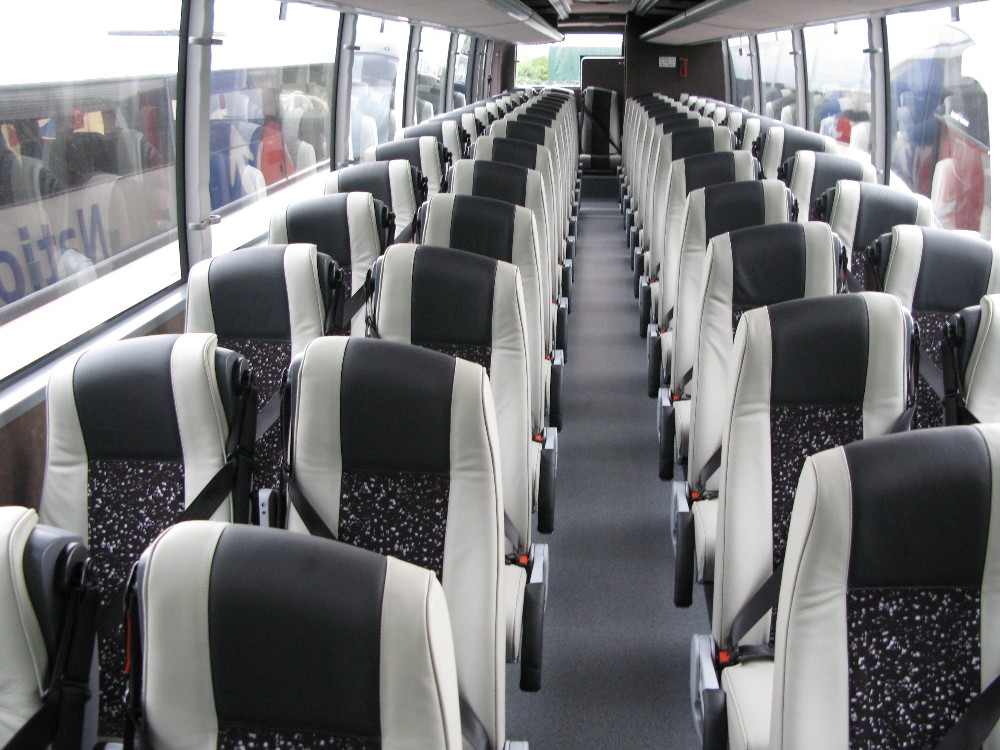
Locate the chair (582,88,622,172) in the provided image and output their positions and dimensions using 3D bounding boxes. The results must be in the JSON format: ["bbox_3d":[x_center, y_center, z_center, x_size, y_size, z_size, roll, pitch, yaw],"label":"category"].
[{"bbox_3d":[2.035,-5.044,15.825,0.830,1.631,0.623,3,8,8],"label":"chair"}]
